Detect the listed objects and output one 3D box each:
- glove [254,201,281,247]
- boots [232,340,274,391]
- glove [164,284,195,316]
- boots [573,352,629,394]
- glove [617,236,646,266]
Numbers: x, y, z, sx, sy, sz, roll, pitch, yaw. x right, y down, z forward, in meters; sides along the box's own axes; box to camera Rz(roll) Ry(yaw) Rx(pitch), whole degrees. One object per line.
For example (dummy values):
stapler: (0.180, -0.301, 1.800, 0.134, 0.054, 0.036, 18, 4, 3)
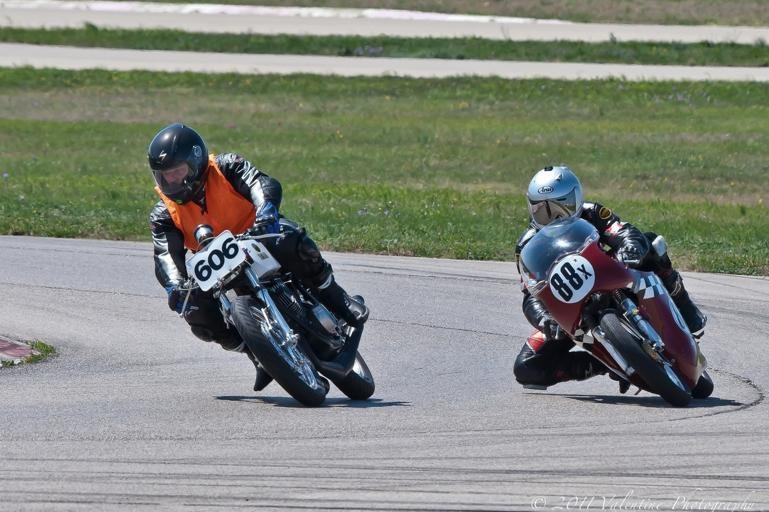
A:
glove: (-1.747, -0.484, 20.593, 0.411, 0.599, 0.272, 2, -4, -13)
boots: (-1.957, 1.716, 21.273, 0.576, 0.783, 0.266, -22, 11, 29)
glove: (-3.077, 0.664, 20.705, 0.400, 0.463, 0.230, -4, 8, 20)
boots: (3.330, 1.909, 21.536, 1.006, 0.461, 0.545, 28, 5, 22)
glove: (3.721, -0.026, 20.742, 0.431, 0.377, 0.187, -12, -22, -6)
